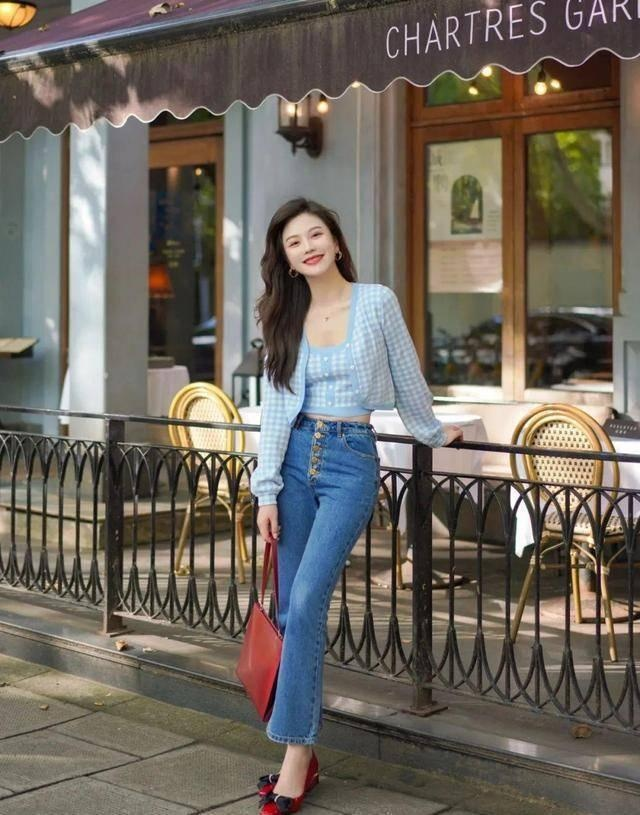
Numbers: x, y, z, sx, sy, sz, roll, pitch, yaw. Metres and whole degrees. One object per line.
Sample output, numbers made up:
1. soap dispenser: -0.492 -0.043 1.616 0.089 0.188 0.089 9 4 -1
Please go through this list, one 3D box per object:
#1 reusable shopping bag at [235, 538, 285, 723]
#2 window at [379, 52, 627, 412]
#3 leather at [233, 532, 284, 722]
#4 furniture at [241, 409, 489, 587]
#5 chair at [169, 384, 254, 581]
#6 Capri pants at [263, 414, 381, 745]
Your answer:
1. reusable shopping bag: -0.200 0.746 4.297 0.061 0.846 0.430 2 16 -11
2. window: 1.254 -1.220 8.642 1.429 2.767 0.046 -1 33 8
3. leather: -0.206 0.740 4.333 0.055 0.920 0.455 2 13 -11
4. furniture: 0.469 0.328 6.298 0.859 0.832 0.880 -3 6 -38
5. chair: -0.521 0.323 6.286 0.344 0.929 0.393 0 8 -26
6. Capri pants: 0.007 0.498 3.854 0.309 0.947 0.211 0 -3 10
